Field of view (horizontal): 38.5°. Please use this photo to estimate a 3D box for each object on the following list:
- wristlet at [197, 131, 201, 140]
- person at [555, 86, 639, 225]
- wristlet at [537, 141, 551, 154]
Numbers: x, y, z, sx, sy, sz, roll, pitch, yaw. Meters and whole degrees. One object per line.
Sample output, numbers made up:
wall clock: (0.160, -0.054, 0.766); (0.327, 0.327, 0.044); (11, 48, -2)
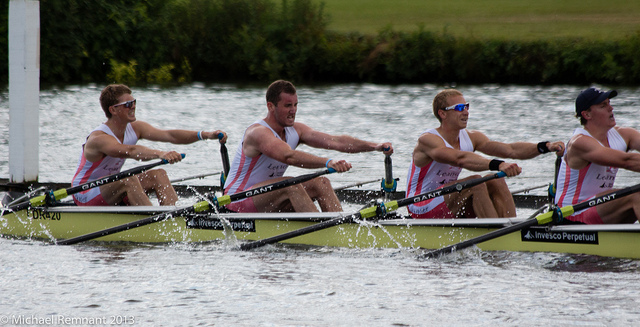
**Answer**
wristlet: (-2.758, -0.644, 20.875); (0.058, 0.174, 0.088); (-3, 8, -32)
person: (5.884, -0.174, 19.213); (1.665, 2.859, 0.681); (3, 7, 11)
wristlet: (4.832, -0.353, 19.644); (0.318, 0.243, 0.229); (-1, 9, 17)
